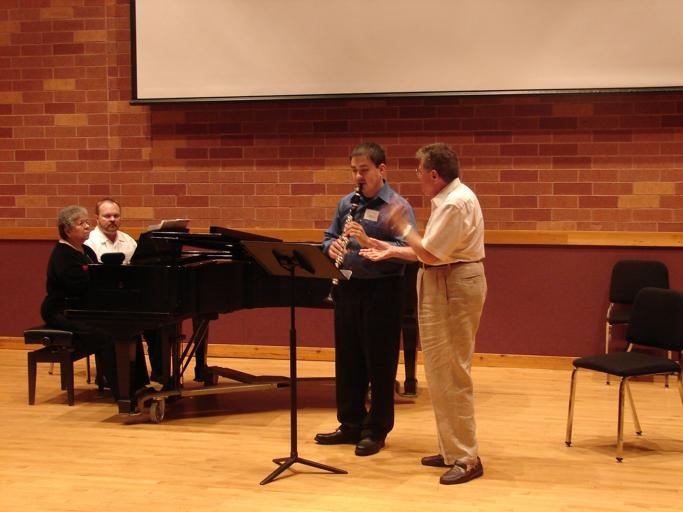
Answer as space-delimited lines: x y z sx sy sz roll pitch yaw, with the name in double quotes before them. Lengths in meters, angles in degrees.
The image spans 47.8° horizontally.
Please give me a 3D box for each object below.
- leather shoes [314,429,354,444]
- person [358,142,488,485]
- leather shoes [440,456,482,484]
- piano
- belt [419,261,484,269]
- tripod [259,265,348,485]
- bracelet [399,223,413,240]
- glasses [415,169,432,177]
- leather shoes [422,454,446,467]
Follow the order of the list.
"leather shoes" -0.029 1.327 5.668 0.322 0.124 0.110 3 -4 1
"person" 0.694 0.380 5.123 0.574 2.201 0.477 8 15 33
"leather shoes" 0.813 1.439 5.213 0.332 0.121 0.123 -1 0 -37
"piano" -0.968 0.541 6.323 2.173 1.033 1.519 0 -4 1
"belt" 0.732 0.055 5.110 0.406 0.071 0.119 0 12 4
"tripod" -0.267 0.759 5.366 0.585 1.486 0.634 4 -16 -17
"bracelet" 0.433 -0.157 4.949 0.070 0.089 0.025 16 -24 10
"glasses" 0.559 -0.558 5.125 0.120 0.032 0.110 4 1 -6
"leather shoes" 0.650 1.410 5.379 0.201 0.071 0.065 2 -3 15
